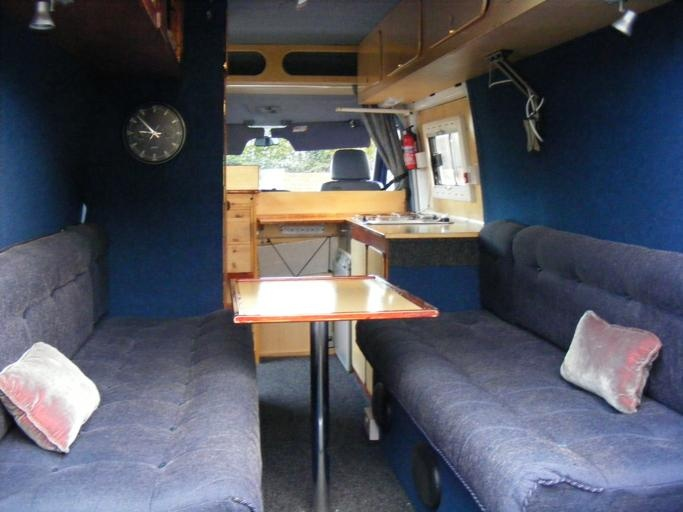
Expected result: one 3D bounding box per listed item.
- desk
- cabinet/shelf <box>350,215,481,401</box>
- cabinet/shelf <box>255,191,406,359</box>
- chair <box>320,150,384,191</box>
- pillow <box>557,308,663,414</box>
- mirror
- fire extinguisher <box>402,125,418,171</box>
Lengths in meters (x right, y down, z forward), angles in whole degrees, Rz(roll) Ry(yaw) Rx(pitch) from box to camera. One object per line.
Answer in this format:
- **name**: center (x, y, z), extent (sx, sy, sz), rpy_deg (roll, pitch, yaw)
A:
- **desk**: center (-0.098, 0.412, 2.649), extent (1.169, 1.358, 0.963), rpy_deg (-1, 9, -7)
- **cabinet/shelf**: center (0.494, 0.466, 4.362), extent (1.028, 1.511, 1.642), rpy_deg (-2, 8, -15)
- **cabinet/shelf**: center (-0.125, 0.143, 3.688), extent (1.403, 1.350, 0.492), rpy_deg (-2, 6, -11)
- **chair**: center (0.120, -0.904, 5.629), extent (0.575, 0.556, 0.490), rpy_deg (0, 4, -4)
- **pillow**: center (1.071, 0.420, 2.117), extent (0.098, 0.306, 0.333), rpy_deg (22, 8, -18)
- **mirror**: center (0.925, -0.830, 4.424), extent (0.087, 0.680, 0.812), rpy_deg (-11, 8, -10)
- **fire extinguisher**: center (0.659, -1.039, 5.089), extent (0.132, 0.427, 0.306), rpy_deg (-1, 10, -1)
